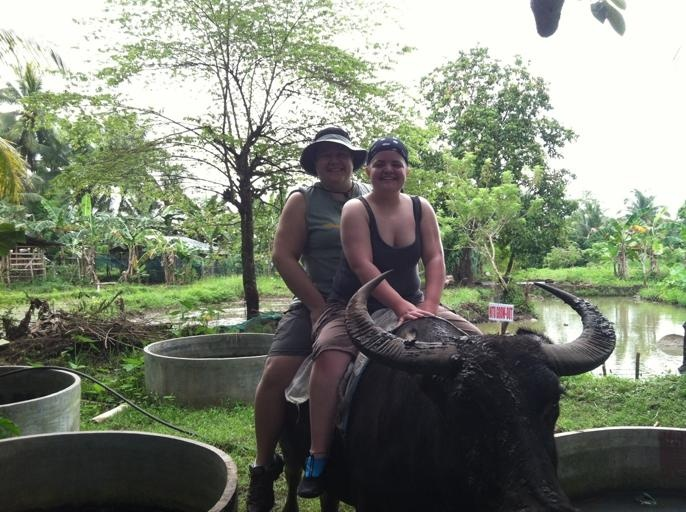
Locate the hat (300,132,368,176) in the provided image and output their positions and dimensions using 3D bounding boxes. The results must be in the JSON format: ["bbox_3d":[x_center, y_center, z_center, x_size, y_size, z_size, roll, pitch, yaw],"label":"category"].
[{"bbox_3d":[-0.102,-0.873,4.788,0.434,0.239,0.385,-12,-42,11],"label":"hat"}]

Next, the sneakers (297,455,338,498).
[{"bbox_3d":[-0.183,1.483,4.001,0.161,0.227,0.460,4,14,18],"label":"sneakers"}]
